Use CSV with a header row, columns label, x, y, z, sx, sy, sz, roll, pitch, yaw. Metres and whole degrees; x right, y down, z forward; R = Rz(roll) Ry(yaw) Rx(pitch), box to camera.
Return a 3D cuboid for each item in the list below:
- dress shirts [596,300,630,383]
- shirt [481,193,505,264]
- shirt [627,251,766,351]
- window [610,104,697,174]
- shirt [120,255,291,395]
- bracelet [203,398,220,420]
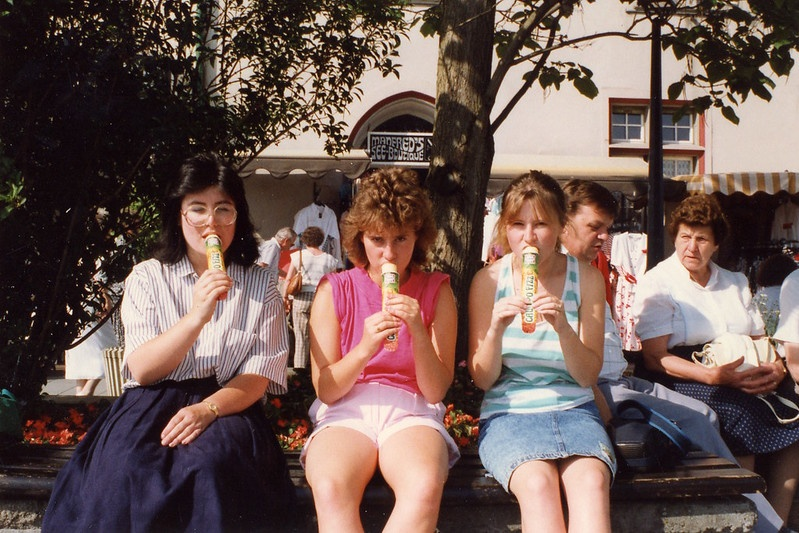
label,x,y,z,sx,sy,sz,roll,pitch,yaw
dress shirts,1.665,0.606,5.663,0.253,0.567,0.405,-1,-3,22
shirt,1.303,-0.618,10.357,0.296,1.066,0.251,7,-10,15
shirt,2.529,0.303,6.153,1.146,0.930,0.644,-3,-3,-5
window,5.172,-2.446,14.494,1.717,1.584,0.195,0,-2,-9
shirt,-1.255,0.381,5.135,1.355,1.364,0.808,2,-2,-13
bracelet,-1.206,0.909,4.629,0.041,0.117,0.084,-34,-6,-37
